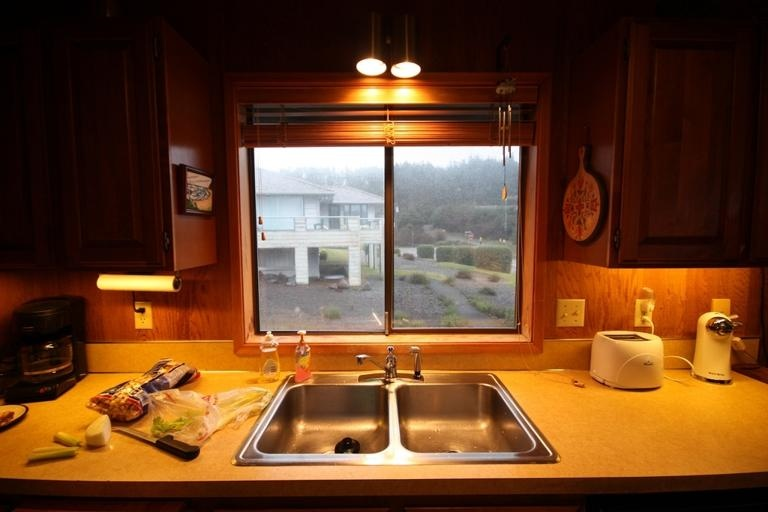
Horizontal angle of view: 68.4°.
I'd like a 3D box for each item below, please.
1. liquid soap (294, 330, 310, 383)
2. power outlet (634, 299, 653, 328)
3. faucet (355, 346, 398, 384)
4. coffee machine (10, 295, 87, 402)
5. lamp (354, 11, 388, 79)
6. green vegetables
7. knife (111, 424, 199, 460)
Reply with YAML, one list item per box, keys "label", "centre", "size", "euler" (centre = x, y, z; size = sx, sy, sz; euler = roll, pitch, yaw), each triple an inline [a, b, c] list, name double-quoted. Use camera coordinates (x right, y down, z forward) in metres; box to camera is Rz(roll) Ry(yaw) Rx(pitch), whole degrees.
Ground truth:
- label: "liquid soap"
  centre: [-0.429, 0.514, 2.987]
  size: [0.084, 0.248, 0.214]
  euler: [-2, 5, -8]
- label: "power outlet"
  centre: [1.380, 0.302, 3.000]
  size: [0.086, 0.151, 0.031]
  euler: [-2, 5, -5]
- label: "faucet"
  centre: [-0.029, 0.554, 2.925]
  size: [0.196, 0.187, 0.213]
  euler: [-1, 5, 1]
- label: "coffee machine"
  centre: [-1.681, 0.452, 2.887]
  size: [0.310, 0.468, 0.331]
  euler: [4, 12, -35]
- label: "lamp"
  centre: [-0.065, -1.079, 2.842]
  size: [0.152, 0.312, 0.259]
  euler: [-2, 5, -1]
- label: "green vegetables"
  centre: [-0.809, 0.721, 2.646]
  size: [0.561, 0.188, 0.196]
  euler: [-2, 5, -14]
- label: "knife"
  centre: [-1.119, 0.822, 2.619]
  size: [0.647, 0.048, 0.090]
  euler: [9, 0, 27]
